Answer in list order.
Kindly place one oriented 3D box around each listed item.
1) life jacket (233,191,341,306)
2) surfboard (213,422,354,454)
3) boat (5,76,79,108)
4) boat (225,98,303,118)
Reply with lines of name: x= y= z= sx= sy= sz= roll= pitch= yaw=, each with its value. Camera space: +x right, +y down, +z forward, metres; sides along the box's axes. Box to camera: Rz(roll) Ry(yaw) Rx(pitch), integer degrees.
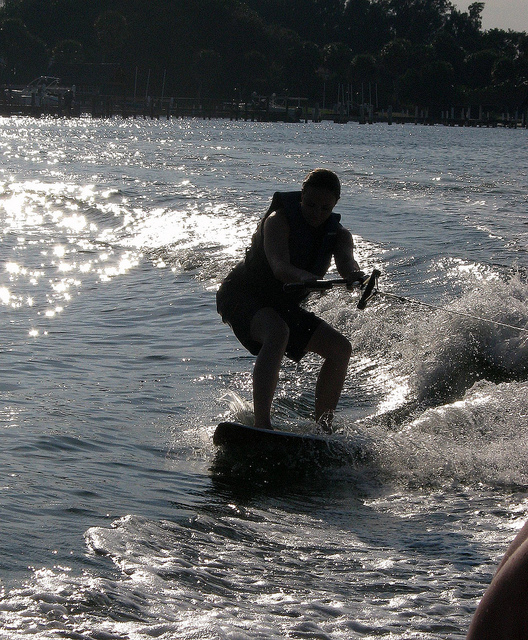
life jacket: x=0.088 y=-0.332 z=5.689 sx=0.457 sy=0.522 sz=0.342 roll=5 pitch=12 yaw=5
surfboard: x=0.031 y=0.529 z=5.539 sx=0.517 sy=0.167 sz=0.167 roll=4 pitch=11 yaw=-3
boat: x=-12.652 y=-12.238 z=67.991 sx=4.367 sy=1.934 sz=2.476 roll=5 pitch=9 yaw=-1
boat: x=-0.358 y=-16.584 z=96.540 sx=5.327 sy=1.380 sz=18.506 roll=4 pitch=11 yaw=-3
